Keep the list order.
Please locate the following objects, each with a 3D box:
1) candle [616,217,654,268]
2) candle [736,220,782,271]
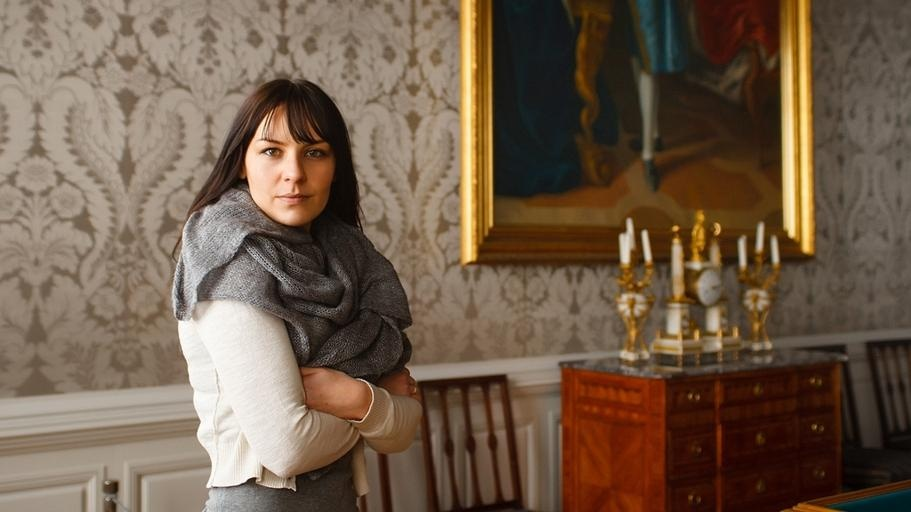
[{"bbox_3d":[1.128,-0.084,4.798,0.342,0.319,0.090,2,0,-25],"label":"candle"},{"bbox_3d":[2.125,-0.049,5.272,0.385,0.380,0.104,-6,16,-9],"label":"candle"}]
